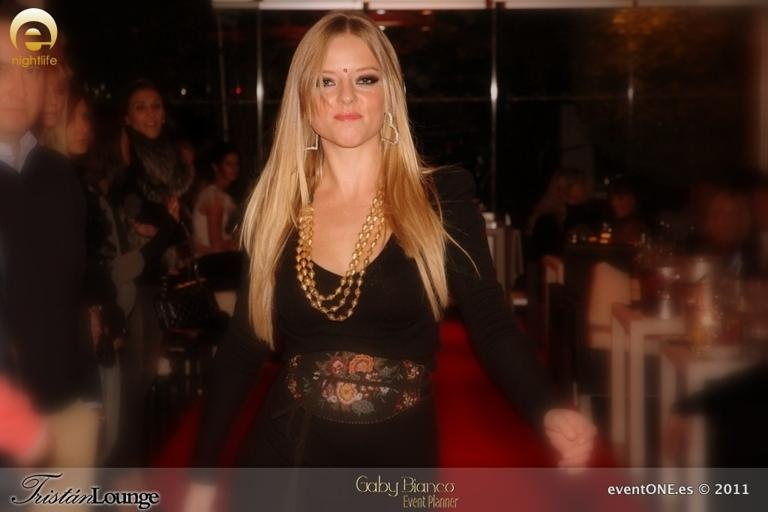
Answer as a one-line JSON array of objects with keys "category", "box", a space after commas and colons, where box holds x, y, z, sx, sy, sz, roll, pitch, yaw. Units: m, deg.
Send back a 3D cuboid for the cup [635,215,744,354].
[{"category": "cup", "box": [1.889, 0.199, 4.421, 0.489, 0.550, 0.576, 6, -12, -43]}]
